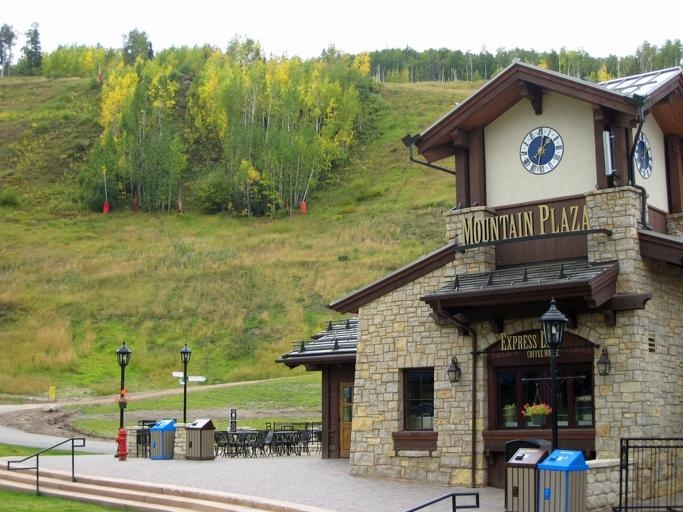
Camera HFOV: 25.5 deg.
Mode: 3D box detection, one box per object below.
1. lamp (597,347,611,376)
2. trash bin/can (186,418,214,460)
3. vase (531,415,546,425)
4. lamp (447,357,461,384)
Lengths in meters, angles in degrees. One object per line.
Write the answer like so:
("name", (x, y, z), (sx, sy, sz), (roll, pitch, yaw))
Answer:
("lamp", (15.240, 5.929, 87.710), (0.767, 1.676, 0.307), (-1, -10, 10))
("trash bin/can", (-8.851, 11.328, 94.827), (1.936, 2.506, 1.017), (3, -10, -12))
("vase", (11.492, 9.385, 88.431), (0.677, 0.459, 0.558), (-2, -3, 1))
("lamp", (6.684, 6.537, 89.701), (0.789, 1.557, 0.329), (0, -10, 4))
